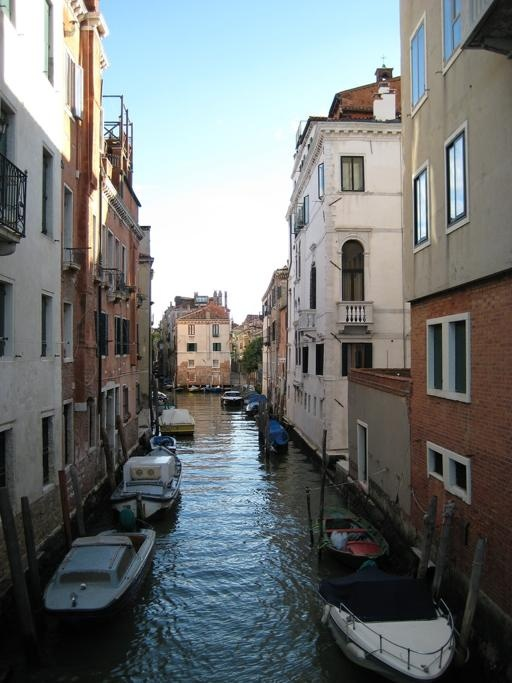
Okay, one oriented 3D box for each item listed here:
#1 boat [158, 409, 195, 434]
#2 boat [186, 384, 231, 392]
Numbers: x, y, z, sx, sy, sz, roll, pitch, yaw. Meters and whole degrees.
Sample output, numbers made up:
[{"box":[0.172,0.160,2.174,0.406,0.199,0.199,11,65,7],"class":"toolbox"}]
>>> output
[{"box":[-5.430,5.637,42.175,2.307,1.311,2.683,-3,-1,-5],"class":"boat"},{"box":[-6.090,6.190,80.211,5.481,0.840,3.996,-3,-1,-9],"class":"boat"}]
